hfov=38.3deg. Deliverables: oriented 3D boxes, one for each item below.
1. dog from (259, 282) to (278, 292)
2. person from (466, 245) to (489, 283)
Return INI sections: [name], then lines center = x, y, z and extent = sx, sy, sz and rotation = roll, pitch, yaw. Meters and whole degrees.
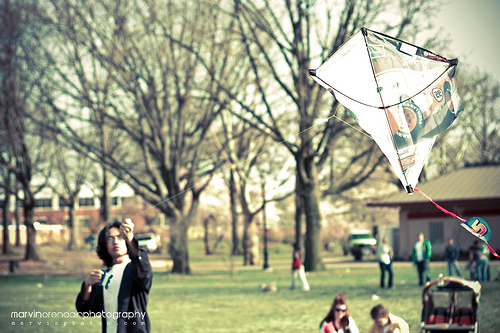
[dog]
center = 0.803, 5.245, 31.396
extent = 0.171, 0.382, 1.840
rotation = -6, -11, 22
[person]
center = 12.357, 5.184, 39.192
extent = 0.945, 2.592, 1.076
rotation = 0, -6, -16
